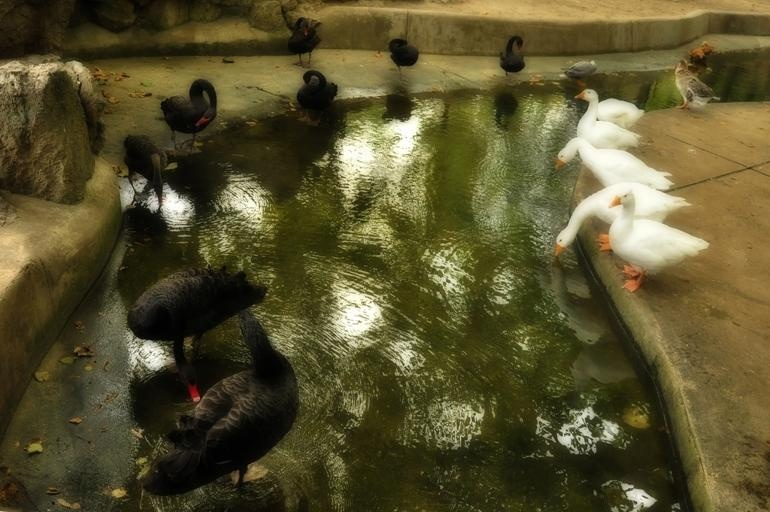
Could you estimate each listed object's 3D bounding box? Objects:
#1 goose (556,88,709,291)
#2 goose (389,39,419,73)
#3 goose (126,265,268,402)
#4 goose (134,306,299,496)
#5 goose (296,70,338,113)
[{"bbox_3d":[3.098,-0.546,8.554,1.408,1.253,2.232,3,35,5],"label":"goose"},{"bbox_3d":[0.350,-4.118,13.287,0.497,0.661,0.580,-6,35,-8],"label":"goose"},{"bbox_3d":[-2.150,0.636,7.355,0.885,1.166,1.901,-33,1,27],"label":"goose"},{"bbox_3d":[-1.762,1.534,6.617,0.772,1.208,1.540,40,52,23],"label":"goose"},{"bbox_3d":[-1.263,-2.971,11.550,0.532,0.784,0.858,-11,32,-21],"label":"goose"}]
